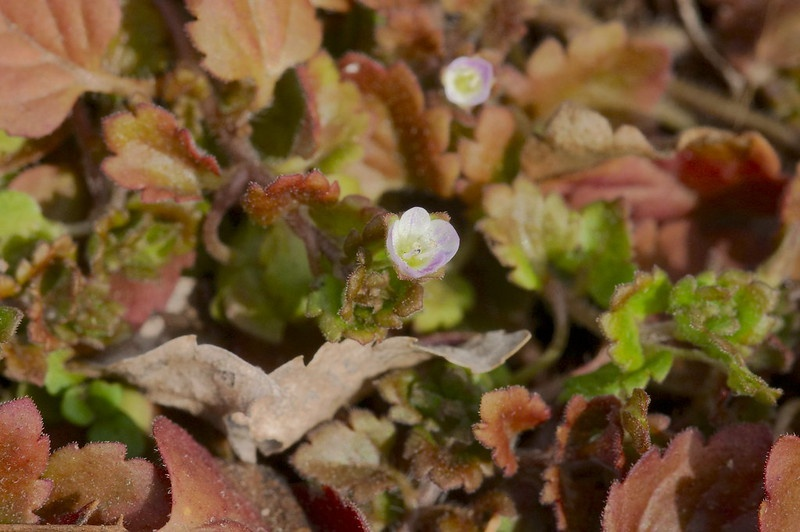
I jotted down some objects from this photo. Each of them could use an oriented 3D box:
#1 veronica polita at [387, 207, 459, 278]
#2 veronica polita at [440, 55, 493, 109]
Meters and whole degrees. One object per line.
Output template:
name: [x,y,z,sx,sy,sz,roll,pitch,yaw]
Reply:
veronica polita: [0.031,-0.034,1.469,0.114,0.084,0.088,8,41,-20]
veronica polita: [0.117,-0.320,1.631,0.084,0.071,0.048,19,38,-6]
